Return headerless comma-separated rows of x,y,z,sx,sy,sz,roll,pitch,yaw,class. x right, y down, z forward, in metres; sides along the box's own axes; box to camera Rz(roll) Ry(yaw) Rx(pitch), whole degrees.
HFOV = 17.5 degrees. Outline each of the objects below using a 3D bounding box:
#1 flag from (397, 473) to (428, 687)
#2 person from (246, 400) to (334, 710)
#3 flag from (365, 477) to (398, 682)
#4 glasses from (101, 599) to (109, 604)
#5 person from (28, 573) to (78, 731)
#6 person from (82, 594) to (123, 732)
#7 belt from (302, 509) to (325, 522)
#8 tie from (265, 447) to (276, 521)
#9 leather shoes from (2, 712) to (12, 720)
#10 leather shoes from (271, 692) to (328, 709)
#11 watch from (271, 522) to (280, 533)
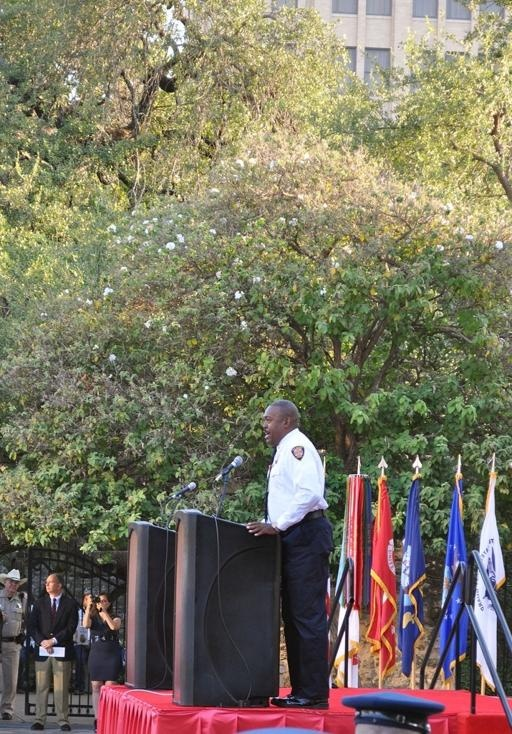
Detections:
1.703,2.228,18.131,0.266,2.209,0.331,-2,-9,6,flag
0.372,1.635,14.810,0.572,2.734,0.336,-1,-9,2,person
1.377,2.296,18.290,0.320,2.257,0.620,-1,-9,3,flag
-1.812,2.755,19.696,0.054,0.084,0.044,-6,-1,15,glasses
-2.475,3.438,20.230,0.603,1.891,0.531,1,-9,-9,person
-1.822,3.453,19.638,0.471,1.601,0.983,0,-9,-5,person
0.519,1.315,14.883,0.132,0.051,0.101,-22,3,-16,belt
0.143,1.112,15.983,0.062,0.660,0.065,0,-3,9,tie
-3.097,4.282,20.484,0.061,0.076,0.115,3,-23,-7,leather shoes
0.392,2.953,14.673,0.411,0.149,0.177,5,-29,9,leather shoes
0.184,1.418,14.738,0.045,0.069,0.105,-5,-11,23,watch
